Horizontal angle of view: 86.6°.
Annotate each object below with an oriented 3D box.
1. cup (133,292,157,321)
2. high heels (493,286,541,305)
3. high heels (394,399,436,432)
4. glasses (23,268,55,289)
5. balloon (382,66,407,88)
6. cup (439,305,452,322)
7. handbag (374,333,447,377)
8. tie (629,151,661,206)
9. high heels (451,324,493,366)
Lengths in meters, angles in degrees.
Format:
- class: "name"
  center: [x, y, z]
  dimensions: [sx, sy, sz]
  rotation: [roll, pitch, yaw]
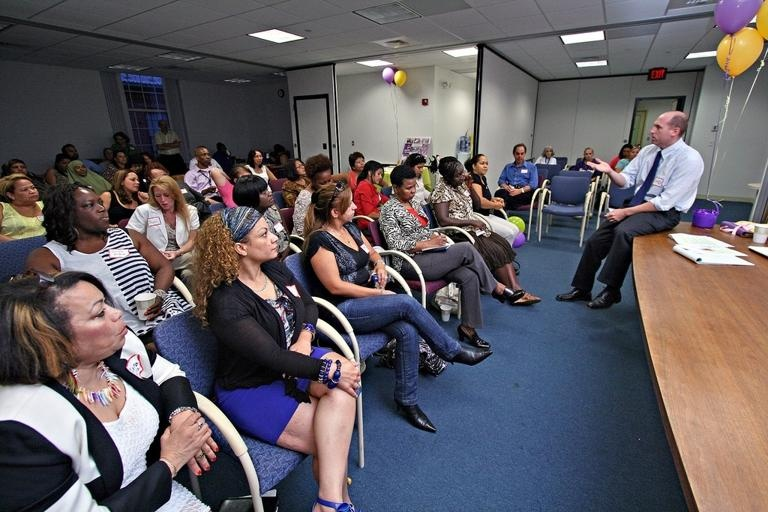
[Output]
- class: "cup"
  center: [-1.478, 0.305, 2.592]
  dimensions: [0.149, 0.166, 0.154]
  rotation: [6, 17, -2]
- class: "high heels"
  center: [1.252, 0.385, 3.890]
  dimensions: [0.367, 0.167, 0.127]
  rotation: [-5, 18, -4]
- class: "high heels"
  center: [0.208, 1.035, 2.739]
  dimensions: [0.348, 0.159, 0.120]
  rotation: [12, 21, 42]
- class: "glasses"
  center: [-1.491, 0.098, 1.761]
  dimensions: [0.092, 0.051, 0.058]
  rotation: [10, 19, 28]
- class: "balloon"
  center: [0.241, -3.954, 8.870]
  dimensions: [0.461, 0.371, 0.685]
  rotation: [3, 18, 6]
- class: "cup"
  center: [0.554, 0.523, 3.747]
  dimensions: [0.124, 0.145, 0.132]
  rotation: [-1, 13, 0]
- class: "handbag"
  center: [0.188, 0.782, 3.051]
  dimensions: [0.435, 0.153, 0.357]
  rotation: [2, 7, 20]
- class: "tie"
  center: [2.406, -0.678, 3.737]
  dimensions: [0.109, 0.792, 0.037]
  rotation: [11, -13, 45]
- class: "high heels"
  center: [0.581, 0.658, 3.086]
  dimensions: [0.188, 0.228, 0.512]
  rotation: [-6, 4, -36]
